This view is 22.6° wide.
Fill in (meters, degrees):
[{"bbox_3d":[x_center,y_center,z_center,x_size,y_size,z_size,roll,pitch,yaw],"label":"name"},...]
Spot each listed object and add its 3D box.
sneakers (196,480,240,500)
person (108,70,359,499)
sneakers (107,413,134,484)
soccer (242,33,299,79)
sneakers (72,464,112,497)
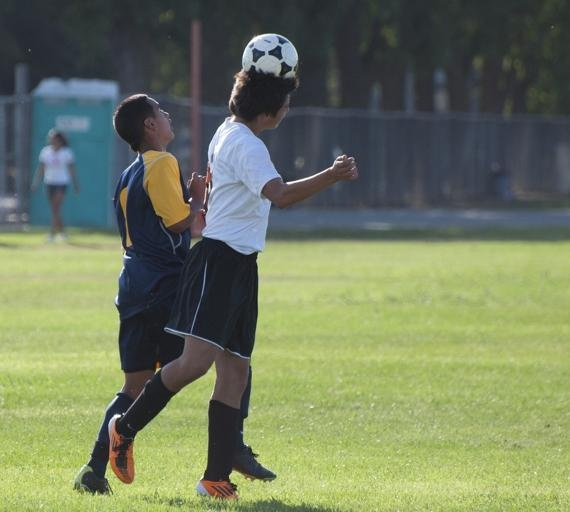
[{"bbox_3d":[-0.315,1.098,6.682,0.219,0.100,0.077,12,8,-13],"label":"sneakers"},{"bbox_3d":[-0.282,0.134,6.702,1.065,2.008,0.457,3,4,6],"label":"person"},{"bbox_3d":[-0.777,0.918,6.810,0.127,0.332,0.107,-14,-3,23],"label":"sneakers"},{"bbox_3d":[-0.079,-0.953,6.744,0.235,0.224,0.215,-5,10,-5],"label":"soccer"},{"bbox_3d":[-0.910,1.076,6.799,0.246,0.111,0.085,22,-3,-25],"label":"sneakers"}]
